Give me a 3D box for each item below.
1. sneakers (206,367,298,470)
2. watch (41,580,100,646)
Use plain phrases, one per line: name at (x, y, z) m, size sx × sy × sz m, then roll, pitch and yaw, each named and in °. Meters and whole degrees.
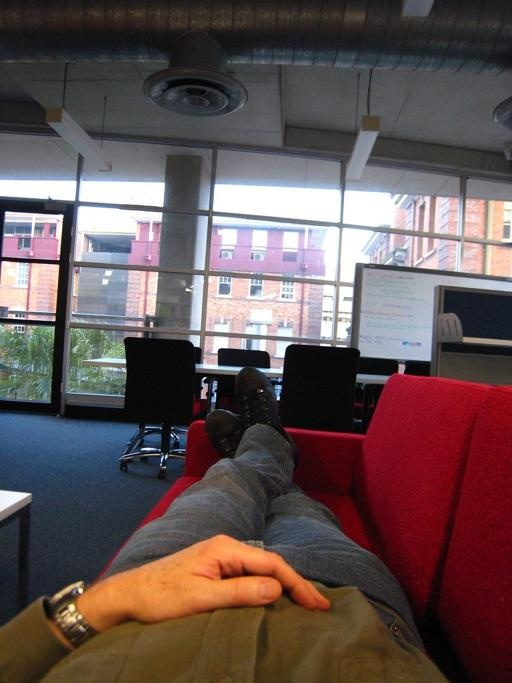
sneakers at (-0.037, 0.221, 1.759) m, size 0.127 × 0.141 × 0.365 m, roll -7°, pitch 24°, yaw 2°
watch at (-0.253, 0.375, 0.755) m, size 0.076 × 0.057 × 0.028 m, roll 40°, pitch -7°, yaw 33°
